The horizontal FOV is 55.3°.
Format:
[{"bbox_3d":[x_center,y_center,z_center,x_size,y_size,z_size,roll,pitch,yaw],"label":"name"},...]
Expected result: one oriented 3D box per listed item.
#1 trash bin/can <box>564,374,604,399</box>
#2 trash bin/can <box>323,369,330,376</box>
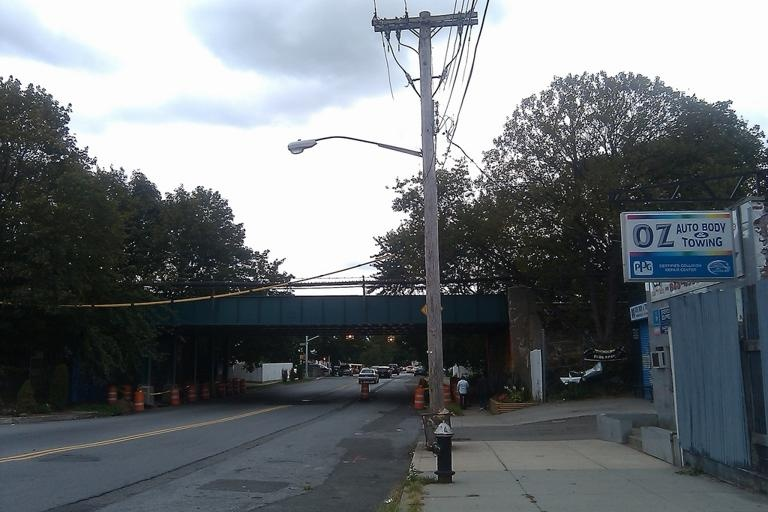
[{"bbox_3d":[9.623,6.247,35.225,2.273,1.167,0.631,1,-11,-15],"label":"trash bin/can"},{"bbox_3d":[-9.275,18.930,118.034,1.153,0.845,0.655,-2,-2,3],"label":"trash bin/can"}]
